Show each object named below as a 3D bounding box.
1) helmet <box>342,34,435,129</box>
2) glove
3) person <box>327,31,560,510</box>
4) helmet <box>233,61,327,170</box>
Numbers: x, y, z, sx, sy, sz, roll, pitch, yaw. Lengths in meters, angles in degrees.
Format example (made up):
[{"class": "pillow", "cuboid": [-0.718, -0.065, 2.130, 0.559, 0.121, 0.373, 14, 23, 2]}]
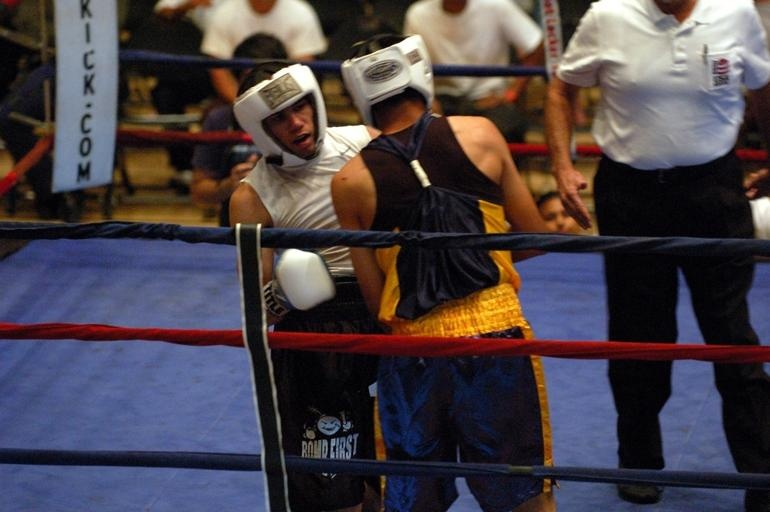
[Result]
[{"class": "helmet", "cuboid": [-0.021, -0.620, 4.012, 0.357, 0.266, 0.251, -20, 3, -3]}, {"class": "glove", "cuboid": [-0.313, 0.090, 3.909, 0.216, 0.206, 0.254, -5, 17, -22]}, {"class": "person", "cuboid": [0.195, 0.049, 3.848, 0.685, 1.612, 0.644, -4, 13, 6]}, {"class": "helmet", "cuboid": [-0.342, -0.502, 4.160, 0.323, 0.308, 0.366, -27, -6, 2]}]
